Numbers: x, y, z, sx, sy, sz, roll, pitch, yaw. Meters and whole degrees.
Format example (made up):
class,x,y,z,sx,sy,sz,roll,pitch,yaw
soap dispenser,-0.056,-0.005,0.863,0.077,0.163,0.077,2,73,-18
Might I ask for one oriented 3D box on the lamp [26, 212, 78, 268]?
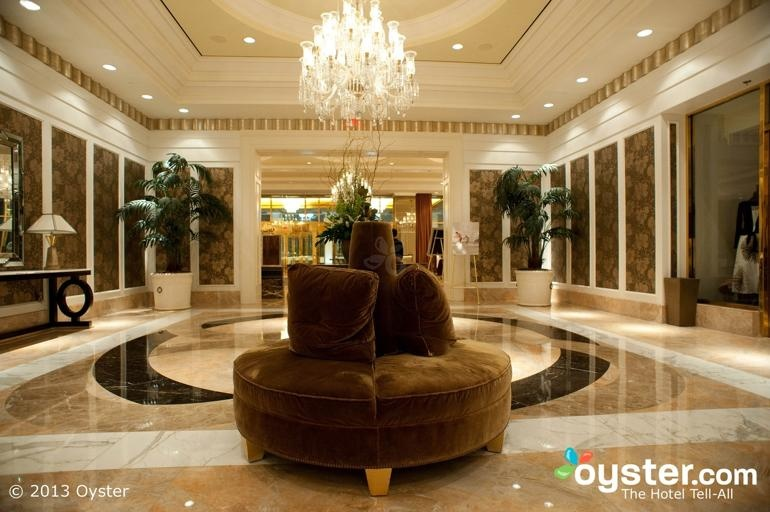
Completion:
class,x,y,z,sx,sy,sz,roll,pitch,yaw
lamp,-4.786,-0.216,7.077,0.626,0.727,0.612,0,-6,-16

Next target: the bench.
class,x,y,z,sx,sy,sz,roll,pitch,yaw
bench,-0.073,1.154,3.755,1.285,0.470,1.289,1,-3,9

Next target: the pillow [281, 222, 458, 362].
class,x,y,z,sx,sy,sz,roll,pitch,yaw
pillow,-0.115,0.324,4.418,1.261,0.937,1.199,-1,-5,0

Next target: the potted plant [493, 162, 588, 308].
class,x,y,z,sx,sy,sz,roll,pitch,yaw
potted plant,2.953,-0.537,9.912,1.720,2.871,1.546,3,-7,0
